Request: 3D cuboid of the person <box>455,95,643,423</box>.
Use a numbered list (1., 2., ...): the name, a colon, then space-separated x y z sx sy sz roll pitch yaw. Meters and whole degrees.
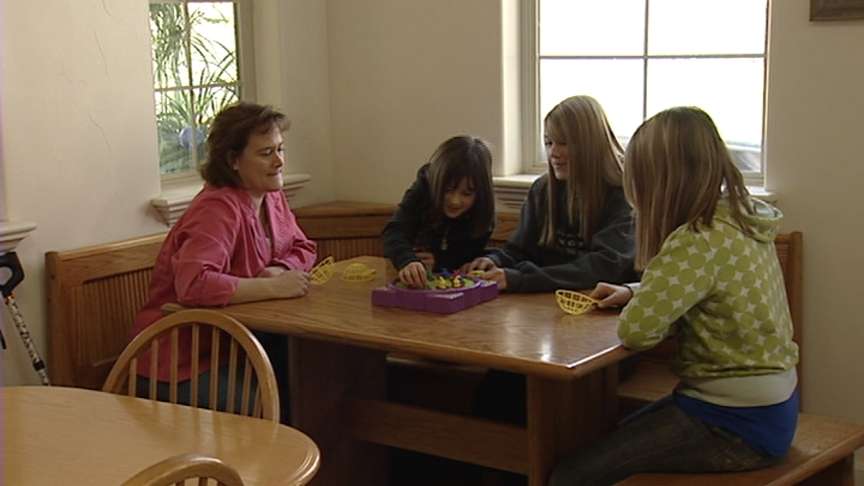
1. person: 0.598 0.139 3.082 0.998 1.516 0.709 -9 16 -29
